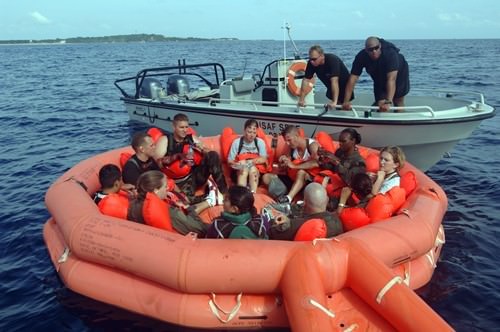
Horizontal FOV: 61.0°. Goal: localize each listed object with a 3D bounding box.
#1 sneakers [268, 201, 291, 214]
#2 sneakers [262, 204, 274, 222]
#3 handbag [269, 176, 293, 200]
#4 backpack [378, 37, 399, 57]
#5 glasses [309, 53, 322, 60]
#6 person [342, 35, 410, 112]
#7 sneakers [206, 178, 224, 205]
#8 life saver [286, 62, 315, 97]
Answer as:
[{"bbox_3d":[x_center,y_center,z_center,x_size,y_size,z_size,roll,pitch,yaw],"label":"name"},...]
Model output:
[{"bbox_3d":[0.529,0.709,7.298,0.440,0.183,0.147,23,-4,3],"label":"sneakers"},{"bbox_3d":[0.293,0.756,6.928,0.105,0.117,0.292,-6,37,-12],"label":"sneakers"},{"bbox_3d":[0.545,0.337,7.944,0.366,0.206,0.475,3,37,17],"label":"handbag"},{"bbox_3d":[2.831,-2.459,8.665,0.378,0.255,0.499,9,22,21],"label":"backpack"},{"bbox_3d":[1.371,-2.290,8.914,0.245,0.120,0.134,4,21,7],"label":"glasses"},{"bbox_3d":[2.664,-1.862,8.781,1.319,1.609,1.028,5,22,10],"label":"person"},{"bbox_3d":[-0.708,0.434,7.693,0.276,0.201,0.608,8,38,-34],"label":"sneakers"},{"bbox_3d":[1.197,-2.133,10.315,0.222,0.777,0.729,5,15,45],"label":"life saver"}]
